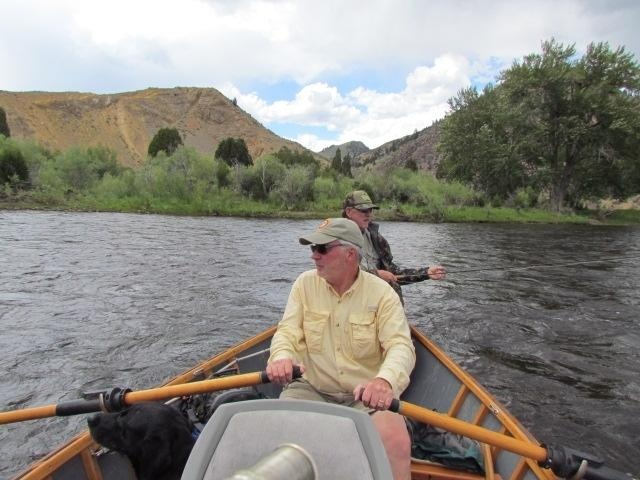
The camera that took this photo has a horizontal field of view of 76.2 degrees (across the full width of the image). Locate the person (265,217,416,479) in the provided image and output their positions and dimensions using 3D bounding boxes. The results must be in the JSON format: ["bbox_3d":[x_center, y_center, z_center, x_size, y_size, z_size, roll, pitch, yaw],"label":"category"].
[{"bbox_3d":[0.181,0.784,3.255,1.182,1.788,0.975,5,13,16],"label":"person"}]

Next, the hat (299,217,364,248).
[{"bbox_3d":[0.117,-0.060,3.479,0.409,0.205,0.273,3,-5,-12],"label":"hat"}]

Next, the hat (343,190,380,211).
[{"bbox_3d":[0.490,-0.496,5.265,0.366,0.204,0.235,-1,-3,39],"label":"hat"}]

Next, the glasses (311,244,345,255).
[{"bbox_3d":[0.053,0.074,3.377,0.225,0.086,0.056,2,13,5],"label":"glasses"}]
